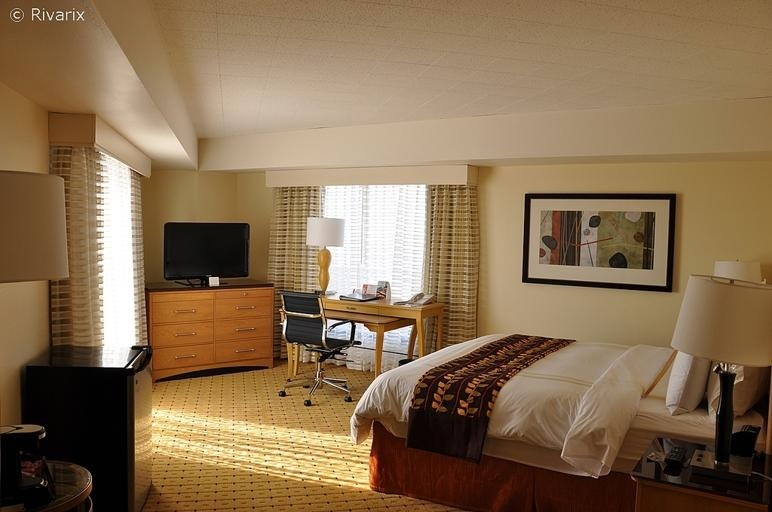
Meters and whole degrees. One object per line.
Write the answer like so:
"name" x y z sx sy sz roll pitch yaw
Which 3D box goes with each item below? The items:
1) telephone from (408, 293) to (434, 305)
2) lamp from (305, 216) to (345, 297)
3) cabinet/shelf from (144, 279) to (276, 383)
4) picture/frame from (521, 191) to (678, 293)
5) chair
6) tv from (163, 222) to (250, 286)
"telephone" 0.501 0.594 7.000 0.203 0.069 0.203 -1 5 42
"lamp" -0.916 -0.005 7.672 0.524 1.139 0.598 0 8 -9
"cabinet/shelf" -2.544 1.080 7.275 1.522 1.067 0.523 -1 1 -28
"picture/frame" 2.733 -0.182 6.379 1.369 0.911 0.036 2 1 20
"chair" -0.971 1.132 6.853 0.946 1.420 1.159 -1 8 -17
"tv" -2.675 -0.044 7.561 0.991 0.683 0.259 0 6 -17
